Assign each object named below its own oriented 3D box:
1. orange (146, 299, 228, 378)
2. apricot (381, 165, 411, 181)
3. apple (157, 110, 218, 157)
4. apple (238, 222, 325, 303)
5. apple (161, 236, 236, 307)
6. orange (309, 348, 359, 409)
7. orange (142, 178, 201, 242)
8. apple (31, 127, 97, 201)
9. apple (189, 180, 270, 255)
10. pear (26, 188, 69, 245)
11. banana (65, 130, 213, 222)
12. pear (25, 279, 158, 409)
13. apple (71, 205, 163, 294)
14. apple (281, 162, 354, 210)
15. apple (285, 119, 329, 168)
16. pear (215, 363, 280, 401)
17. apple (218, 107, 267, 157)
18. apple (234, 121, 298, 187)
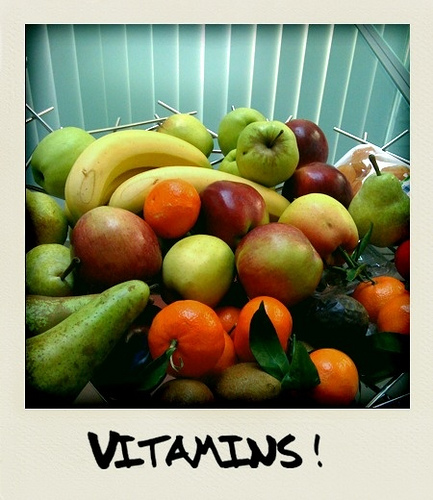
[{"bbox_3d":[-0.031,0.092,0.532,0.083,0.077,0.085,13,20,42],"label":"orange"},{"bbox_3d":[0.286,-0.117,0.721,0.040,0.012,0.031,20,43,33],"label":"apricot"},{"bbox_3d":[-0.041,-0.188,0.746,0.049,0.072,0.050,-42,51,0],"label":"apple"},{"bbox_3d":[0.077,0.022,0.573,0.118,0.112,0.118,3,-10,-1],"label":"apple"},{"bbox_3d":[-0.022,0.027,0.559,0.093,0.066,0.072,-4,33,-8],"label":"apple"},{"bbox_3d":[0.131,0.140,0.505,0.050,0.049,0.045,-25,76,-11],"label":"orange"},{"bbox_3d":[-0.056,-0.059,0.609,0.077,0.086,0.075,10,8,-20],"label":"orange"},{"bbox_3d":[-0.231,-0.135,0.661,0.065,0.076,0.065,34,9,10],"label":"apple"},{"bbox_3d":[0.019,-0.048,0.630,0.106,0.094,0.094,15,40,9],"label":"apple"},{"bbox_3d":[-0.229,-0.054,0.612,0.065,0.093,0.066,0,6,-31],"label":"pear"},{"bbox_3d":[-0.110,-0.118,0.688,0.186,0.096,0.041,-22,61,14],"label":"banana"},{"bbox_3d":[-0.144,0.109,0.500,0.147,0.121,0.077,-6,34,-10],"label":"pear"},{"bbox_3d":[-0.127,-0.002,0.552,0.107,0.092,0.109,-4,65,-18],"label":"apple"},{"bbox_3d":[0.150,-0.077,0.695,0.110,0.114,0.108,1,8,12],"label":"apple"},{"bbox_3d":[0.126,-0.174,0.732,0.080,0.081,0.076,9,22,23],"label":"apple"},{"bbox_3d":[0.032,0.145,0.496,0.070,0.032,0.031,-3,33,-6],"label":"pear"},{"bbox_3d":[0.042,-0.198,0.757,0.071,0.075,0.066,14,2,3],"label":"apple"},{"bbox_3d":[0.065,-0.138,0.682,0.095,0.082,0.103,4,2,-2],"label":"apple"}]
